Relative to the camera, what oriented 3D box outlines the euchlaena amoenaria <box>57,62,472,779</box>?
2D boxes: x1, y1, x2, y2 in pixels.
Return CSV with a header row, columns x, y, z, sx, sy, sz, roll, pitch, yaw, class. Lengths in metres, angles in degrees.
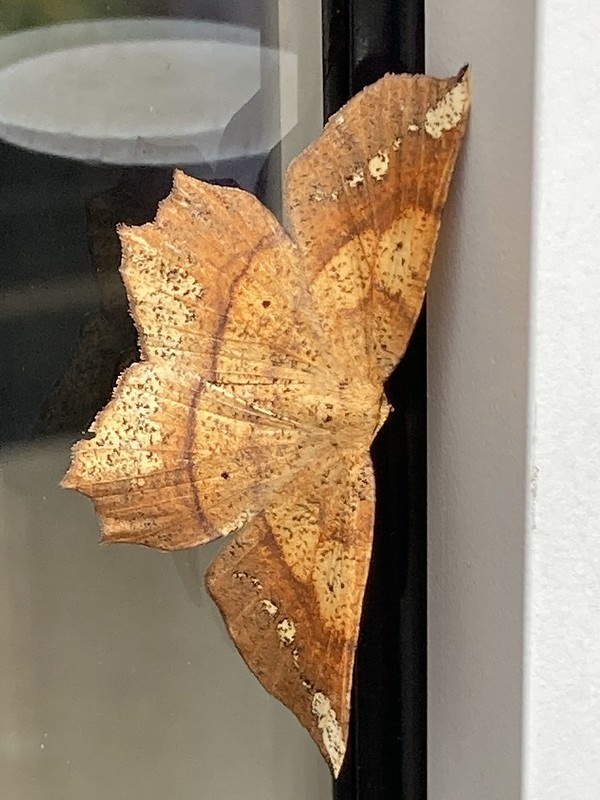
x,y,z,sx,sy,sz,roll,pitch,yaw,class
-0.045,-0.013,1.096,0.283,0.257,0.546,12,66,7,euchlaena amoenaria
